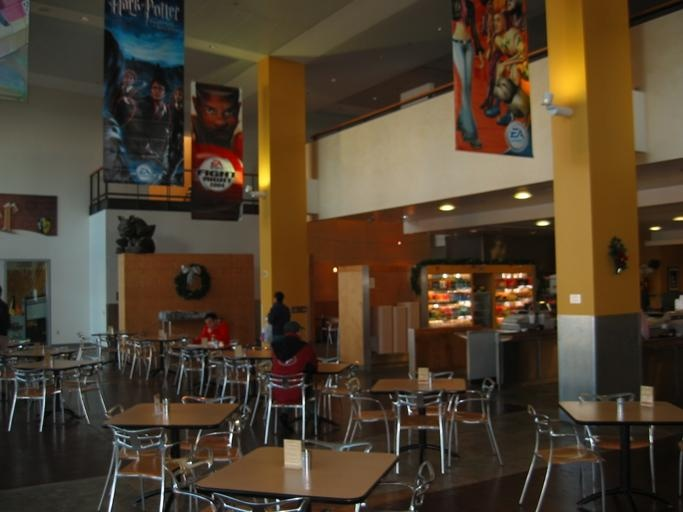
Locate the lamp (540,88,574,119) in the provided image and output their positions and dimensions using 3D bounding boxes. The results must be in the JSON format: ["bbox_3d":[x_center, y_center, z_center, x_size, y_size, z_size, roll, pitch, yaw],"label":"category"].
[{"bbox_3d":[3.312,-2.327,9.938,0.501,0.291,0.402,4,4,14],"label":"lamp"}]

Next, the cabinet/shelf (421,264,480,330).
[{"bbox_3d":[2.596,0.988,15.724,1.251,1.594,0.508,8,-11,-35],"label":"cabinet/shelf"}]

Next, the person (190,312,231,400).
[{"bbox_3d":[-2.711,1.827,13.425,0.797,1.308,0.560,-7,9,-8],"label":"person"}]

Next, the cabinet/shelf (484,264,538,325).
[{"bbox_3d":[4.221,0.973,16.320,1.247,2.358,0.740,6,-6,-31],"label":"cabinet/shelf"}]
